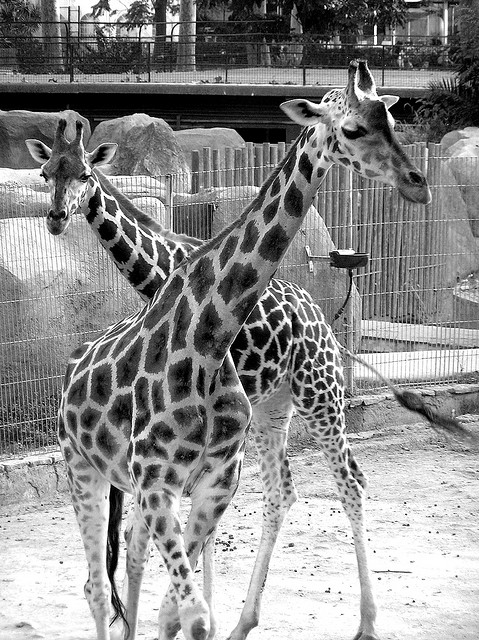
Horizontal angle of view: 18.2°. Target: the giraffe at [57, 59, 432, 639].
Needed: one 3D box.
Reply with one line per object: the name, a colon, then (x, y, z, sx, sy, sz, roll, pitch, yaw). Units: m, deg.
giraffe: (-0.141, 0.240, 7.403, 1.671, 2.983, 0.930, 0, 9, 5)
